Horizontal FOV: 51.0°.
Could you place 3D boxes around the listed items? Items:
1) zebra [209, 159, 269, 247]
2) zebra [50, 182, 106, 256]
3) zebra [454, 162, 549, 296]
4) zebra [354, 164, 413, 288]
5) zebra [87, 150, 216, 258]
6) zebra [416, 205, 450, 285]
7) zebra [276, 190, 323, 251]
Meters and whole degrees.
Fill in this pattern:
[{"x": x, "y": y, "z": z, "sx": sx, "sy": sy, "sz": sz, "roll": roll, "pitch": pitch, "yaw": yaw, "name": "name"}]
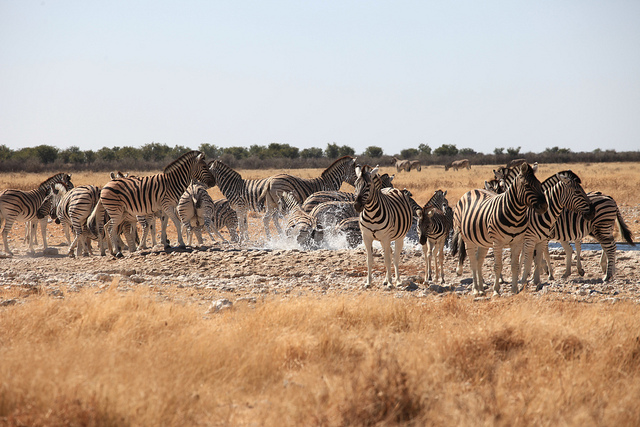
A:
[{"x": -2.145, "y": -0.248, "z": 20.178, "sx": 2.995, "sy": 2.457, "sz": 0.812, "roll": 5, "pitch": 9, "yaw": 14, "name": "zebra"}, {"x": -6.609, "y": 0.102, "z": 17.974, "sx": 0.799, "sy": 2.109, "sz": 2.711, "roll": -5, "pitch": 3, "yaw": -44, "name": "zebra"}, {"x": 3.334, "y": 0.296, "z": 12.662, "sx": 0.843, "sy": 2.543, "sz": 2.001, "roll": -4, "pitch": 8, "yaw": -24, "name": "zebra"}, {"x": 1.278, "y": 0.302, "z": 13.674, "sx": 0.823, "sy": 2.432, "sz": 3.068, "roll": 0, "pitch": -3, "yaw": 21, "name": "zebra"}, {"x": -4.088, "y": -0.252, "z": 16.560, "sx": 2.560, "sy": 2.482, "sz": 0.802, "roll": -3, "pitch": 8, "yaw": -18, "name": "zebra"}, {"x": 2.315, "y": 0.634, "z": 13.835, "sx": 0.582, "sy": 1.620, "sz": 1.436, "roll": 2, "pitch": 8, "yaw": 15, "name": "zebra"}, {"x": -0.414, "y": -0.042, "z": 17.974, "sx": 1.956, "sy": 1.553, "sz": 0.595, "roll": -18, "pitch": -13, "yaw": 43, "name": "zebra"}]
